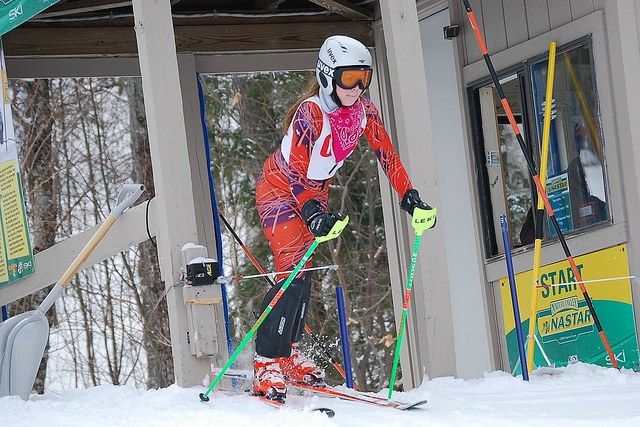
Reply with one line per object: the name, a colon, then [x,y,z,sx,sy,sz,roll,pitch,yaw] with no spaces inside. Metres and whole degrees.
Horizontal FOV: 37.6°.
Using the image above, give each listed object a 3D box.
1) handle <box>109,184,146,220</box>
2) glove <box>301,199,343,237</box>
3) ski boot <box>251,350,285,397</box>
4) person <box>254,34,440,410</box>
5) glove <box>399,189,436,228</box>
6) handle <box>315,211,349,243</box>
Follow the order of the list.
handle: [-1.587,-0.106,7.820,0.307,0.198,0.062,-56,-17,12]
glove: [-0.020,0.031,6.911,0.247,0.266,0.118,-22,-33,-8]
ski boot: [-0.372,1.155,6.955,0.224,0.335,0.214,0,0,-8]
person: [0.084,-0.021,7.086,1.304,2.578,0.902,-4,10,-15]
glove: [0.734,-0.085,7.257,0.122,0.325,0.204,-18,-27,-31]
handle: [0.109,0.040,6.852,0.080,0.197,0.155,-52,8,-23]
